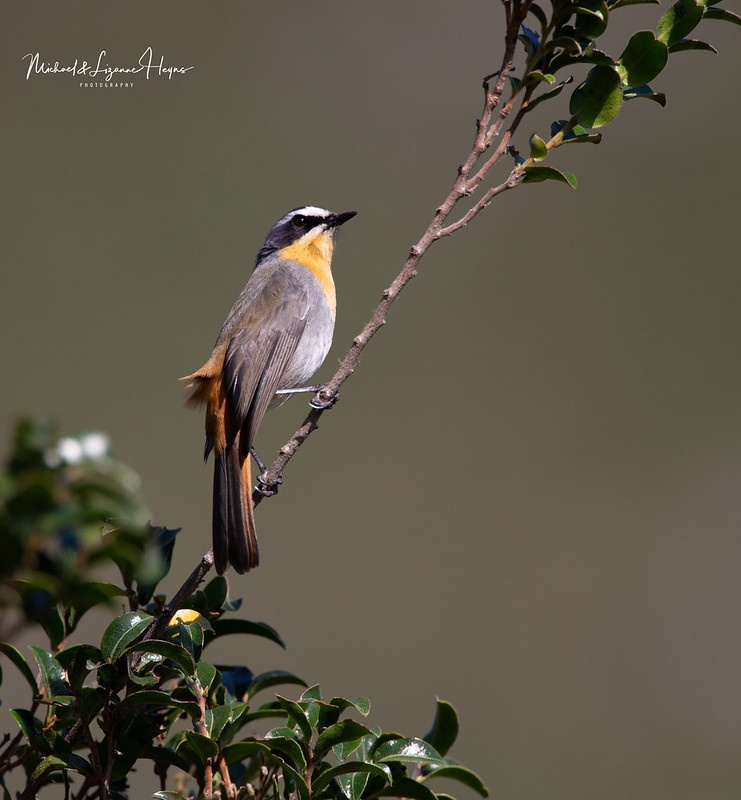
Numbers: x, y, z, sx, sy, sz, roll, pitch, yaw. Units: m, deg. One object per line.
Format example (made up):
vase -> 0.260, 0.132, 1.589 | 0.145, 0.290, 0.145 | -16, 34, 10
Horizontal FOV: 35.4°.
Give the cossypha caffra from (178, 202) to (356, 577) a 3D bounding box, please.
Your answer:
cossypha caffra -> -0.342, -0.059, 3.735 | 0.775, 1.427, 0.436 | -1, -48, -11
